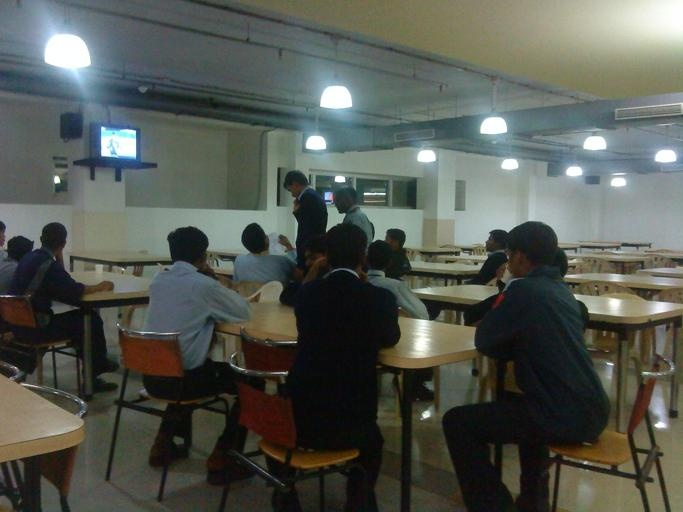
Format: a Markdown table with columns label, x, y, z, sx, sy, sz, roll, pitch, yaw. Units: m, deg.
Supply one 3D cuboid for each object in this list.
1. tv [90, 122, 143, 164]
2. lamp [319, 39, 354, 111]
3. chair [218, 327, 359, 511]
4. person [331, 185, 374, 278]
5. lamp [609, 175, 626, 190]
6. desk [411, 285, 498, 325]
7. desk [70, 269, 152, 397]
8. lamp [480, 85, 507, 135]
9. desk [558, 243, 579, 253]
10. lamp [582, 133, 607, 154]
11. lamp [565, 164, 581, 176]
| label | x | y | z | sx | sy | sz | roll | pitch | yaw |
| --- | --- | --- | --- | --- | --- | --- | --- | --- | --- |
| tv | -3.621 | -1.947 | 9.573 | 1.000 | 0.740 | 0.531 | 0 | 6 | -41 |
| lamp | -0.057 | -2.212 | 7.138 | 0.372 | 1.088 | 1.151 | 0 | -1 | -1 |
| chair | -0.291 | 0.922 | 3.015 | 0.643 | 0.952 | 0.745 | 0 | -1 | -15 |
| person | 0.135 | -0.159 | 5.745 | 0.297 | 0.965 | 0.308 | -6 | -2 | 32 |
| lamp | 8.421 | -2.241 | 17.982 | 0.534 | 0.438 | 0.538 | -3 | 8 | -24 |
| desk | 0.883 | 0.372 | 4.578 | 0.346 | 0.185 | 0.489 | -2 | 3 | -42 |
| desk | -1.859 | 0.635 | 4.711 | 0.452 | 0.444 | 0.875 | -6 | 10 | -39 |
| lamp | 2.319 | -2.231 | 8.995 | 0.358 | 0.943 | 1.141 | 0 | -1 | 16 |
| desk | 4.752 | -0.177 | 12.321 | 0.255 | 0.191 | 0.379 | -4 | 7 | -29 |
| lamp | 4.027 | -1.829 | 9.329 | 0.261 | 0.370 | 0.919 | 0 | -1 | 27 |
| lamp | 5.826 | -2.135 | 14.962 | 0.383 | 0.254 | 0.394 | 0 | 6 | -8 |
